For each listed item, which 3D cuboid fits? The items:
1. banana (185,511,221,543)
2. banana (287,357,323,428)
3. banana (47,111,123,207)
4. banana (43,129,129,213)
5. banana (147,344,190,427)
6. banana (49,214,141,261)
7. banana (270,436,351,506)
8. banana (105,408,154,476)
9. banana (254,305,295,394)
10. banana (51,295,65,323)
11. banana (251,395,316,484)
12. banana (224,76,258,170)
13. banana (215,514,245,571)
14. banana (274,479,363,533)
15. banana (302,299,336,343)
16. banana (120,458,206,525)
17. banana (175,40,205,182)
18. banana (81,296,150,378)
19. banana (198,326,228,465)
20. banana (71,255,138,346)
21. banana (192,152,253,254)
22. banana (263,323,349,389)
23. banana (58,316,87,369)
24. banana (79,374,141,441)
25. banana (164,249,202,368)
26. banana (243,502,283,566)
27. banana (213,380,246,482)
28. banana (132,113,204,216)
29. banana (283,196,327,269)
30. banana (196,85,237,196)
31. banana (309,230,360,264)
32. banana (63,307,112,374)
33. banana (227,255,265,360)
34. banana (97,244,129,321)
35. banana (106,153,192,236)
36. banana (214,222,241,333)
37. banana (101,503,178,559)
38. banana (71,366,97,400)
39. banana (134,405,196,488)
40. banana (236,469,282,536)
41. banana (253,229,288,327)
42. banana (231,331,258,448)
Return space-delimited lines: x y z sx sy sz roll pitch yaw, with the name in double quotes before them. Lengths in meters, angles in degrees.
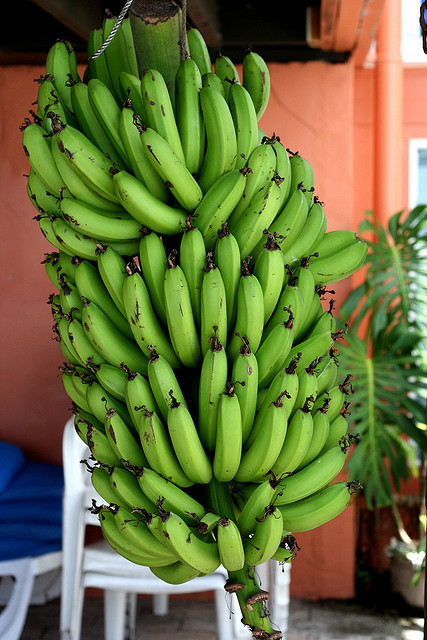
"banana" -0.014 0.233 0.684 0.021 0.028 0.046 -36 -5 18
"banana" 0.121 0.085 0.782 0.030 0.103 0.038 19 -13 -35
"banana" -0.156 -0.194 0.733 0.039 0.131 0.047 -35 16 5
"banana" -0.156 -0.191 0.713 0.061 0.040 0.151 -11 -20 -21
"banana" -0.063 0.069 0.736 0.030 0.111 0.041 -24 -10 30
"banana" -0.143 -0.103 0.745 0.089 0.023 0.034 21 39 -13
"banana" 0.115 0.188 0.749 0.122 0.033 0.048 -35 26 -18
"banana" -0.100 0.145 0.722 0.026 0.087 0.031 -22 8 30
"banana" 0.074 0.036 0.737 0.038 0.104 0.028 20 16 -23
"banana" -0.212 -0.012 0.837 0.022 0.039 0.013 -17 -19 35
"banana" 0.084 0.169 0.784 0.056 0.139 0.039 35 18 28
"banana" 0.038 -0.259 0.792 0.032 0.121 0.045 -9 6 39
"banana" 0.018 0.250 0.673 0.035 0.092 0.036 1 21 0
"banana" 0.120 0.237 0.761 0.129 0.049 0.035 -6 13 -13
"banana" 0.151 0.007 0.844 0.031 0.073 0.025 26 -5 25
"banana" -0.061 0.200 0.699 0.023 0.091 0.035 -41 8 41
"banana" -0.030 -0.258 0.754 0.034 0.164 0.029 -4 2 -8
"banana" -0.122 0.021 0.743 0.025 0.101 0.036 -34 13 7
"banana" -0.003 0.088 0.693 0.030 0.173 0.032 2 2 -7
"banana" -0.135 -0.024 0.745 0.027 0.112 0.040 -34 10 17
"banana" 0.007 -0.138 0.715 0.038 0.139 0.056 35 30 15
"banana" 0.113 0.047 0.774 0.132 0.033 0.054 -33 1 -14
"banana" -0.181 0.027 0.779 0.026 0.073 0.018 -33 15 -31
"banana" -0.125 0.107 0.743 0.027 0.089 0.035 -36 8 -6
"banana" -0.053 -0.011 0.744 0.033 0.146 0.057 -4 3 34
"banana" 0.048 0.251 0.683 0.025 0.038 0.067 -11 26 47
"banana" 0.015 0.133 0.689 0.031 0.127 0.033 1 22 0
"banana" -0.057 -0.185 0.721 0.034 0.141 0.036 -20 21 36
"banana" 0.119 -0.114 0.808 0.041 0.105 0.029 32 0 30
"banana" 0.004 -0.223 0.742 0.039 0.133 0.044 5 33 18
"banana" 0.163 -0.098 0.828 0.066 0.016 0.022 -23 28 -5
"banana" -0.164 0.034 0.802 0.029 0.095 0.036 -16 16 49
"banana" 0.040 -0.015 0.738 0.033 0.123 0.049 -1 2 -33
"banana" -0.123 -0.045 0.736 0.032 0.083 0.024 -4 22 -12
"banana" -0.077 -0.148 0.719 0.029 0.123 0.051 -23 36 34
"banana" 0.026 -0.051 0.720 0.033 0.123 0.045 -2 16 18
"banana" -0.084 0.257 0.725 0.108 0.031 0.044 -26 46 29
"banana" -0.170 0.082 0.789 0.030 0.044 0.012 -19 2 -4
"banana" -0.061 0.154 0.700 0.036 0.123 0.051 -17 6 29
"banana" 0.040 0.215 0.705 0.029 0.094 0.027 -2 48 -35
"banana" 0.076 -0.051 0.735 0.033 0.113 0.041 5 20 28
"banana" 0.037 0.078 0.706 0.031 0.125 0.045 -1 7 33
